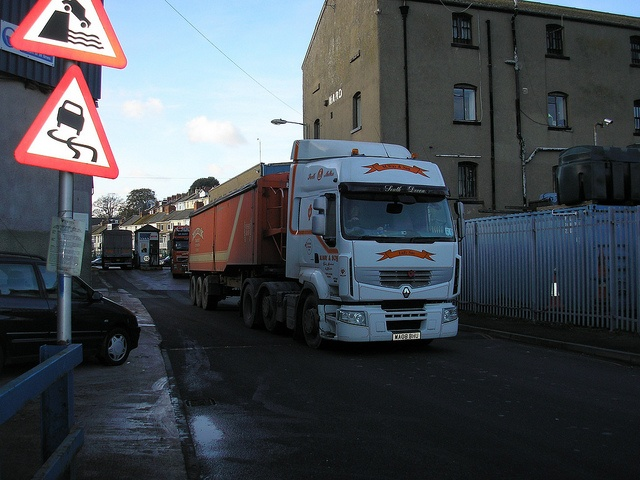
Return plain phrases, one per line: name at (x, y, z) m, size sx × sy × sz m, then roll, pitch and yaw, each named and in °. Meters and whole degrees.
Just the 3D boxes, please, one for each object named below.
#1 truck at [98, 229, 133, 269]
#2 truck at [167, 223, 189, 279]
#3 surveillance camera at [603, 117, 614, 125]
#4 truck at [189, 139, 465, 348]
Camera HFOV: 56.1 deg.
truck at (-18.765, 0.851, 55.837) m, size 2.085 × 2.670 × 3.940 m, roll 1°, pitch 4°, yaw -21°
truck at (-10.581, 0.955, 45.463) m, size 1.201 × 3.663 × 2.314 m, roll 0°, pitch 2°, yaw -9°
surveillance camera at (13.614, -5.616, 28.332) m, size 0.278 × 0.462 × 0.440 m, roll 2°, pitch -2°, yaw -26°
truck at (-0.030, 0.255, 16.466) m, size 2.915 × 4.601 × 10.489 m, roll 1°, pitch -5°, yaw -24°
